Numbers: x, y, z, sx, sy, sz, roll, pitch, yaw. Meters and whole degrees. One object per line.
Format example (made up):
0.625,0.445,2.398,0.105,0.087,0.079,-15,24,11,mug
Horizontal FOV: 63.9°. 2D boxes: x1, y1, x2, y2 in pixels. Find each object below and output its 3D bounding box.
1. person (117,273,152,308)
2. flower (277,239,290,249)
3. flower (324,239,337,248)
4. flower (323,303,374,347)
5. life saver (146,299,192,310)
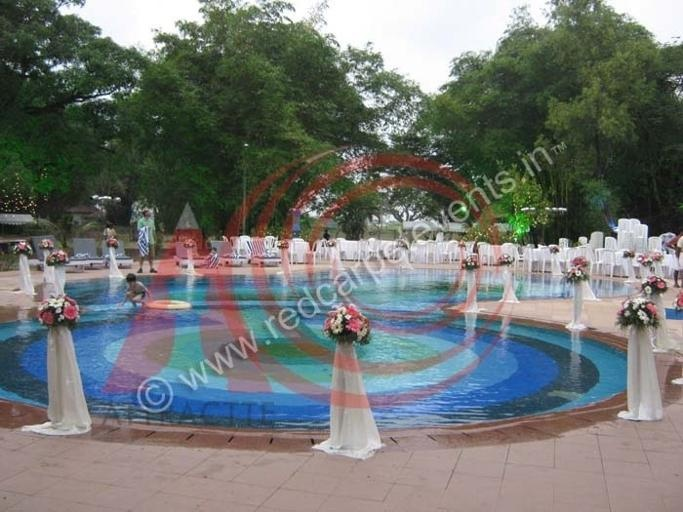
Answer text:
-5.455,1.043,14.492,0.809,1.142,0.540,-6,8,-19,person
-2.785,-0.523,26.001,0.685,0.353,0.697,1,1,0,flower
-0.467,-0.661,27.792,0.548,0.385,0.561,-1,3,-10,flower
0.063,0.811,6.370,0.462,0.484,0.412,4,3,-12,flower
-4.523,1.256,14.119,1.240,0.214,0.717,-3,1,0,life saver
